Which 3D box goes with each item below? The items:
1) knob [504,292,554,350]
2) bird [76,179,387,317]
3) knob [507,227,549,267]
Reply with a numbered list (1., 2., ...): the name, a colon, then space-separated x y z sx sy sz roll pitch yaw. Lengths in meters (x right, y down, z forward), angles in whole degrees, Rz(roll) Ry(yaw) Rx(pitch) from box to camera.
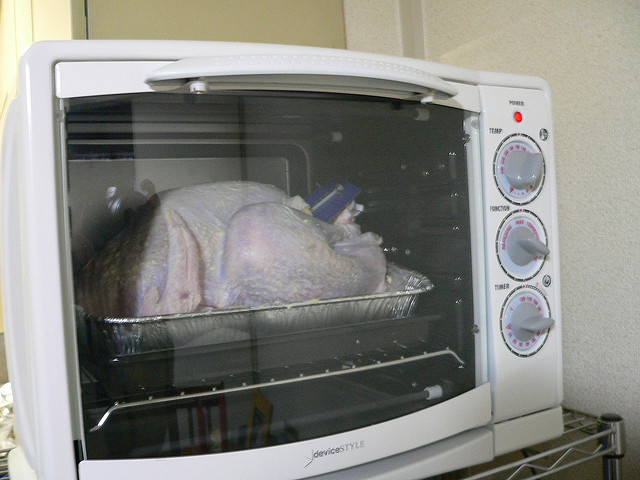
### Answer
1. knob: 0.342 0.135 1.197 0.084 0.094 0.032 -7 8 -25
2. bird: -0.134 -0.022 1.110 0.318 0.104 0.224 -5 8 -22
3. knob: 0.341 0.011 1.203 0.064 0.065 0.040 -2 7 14
